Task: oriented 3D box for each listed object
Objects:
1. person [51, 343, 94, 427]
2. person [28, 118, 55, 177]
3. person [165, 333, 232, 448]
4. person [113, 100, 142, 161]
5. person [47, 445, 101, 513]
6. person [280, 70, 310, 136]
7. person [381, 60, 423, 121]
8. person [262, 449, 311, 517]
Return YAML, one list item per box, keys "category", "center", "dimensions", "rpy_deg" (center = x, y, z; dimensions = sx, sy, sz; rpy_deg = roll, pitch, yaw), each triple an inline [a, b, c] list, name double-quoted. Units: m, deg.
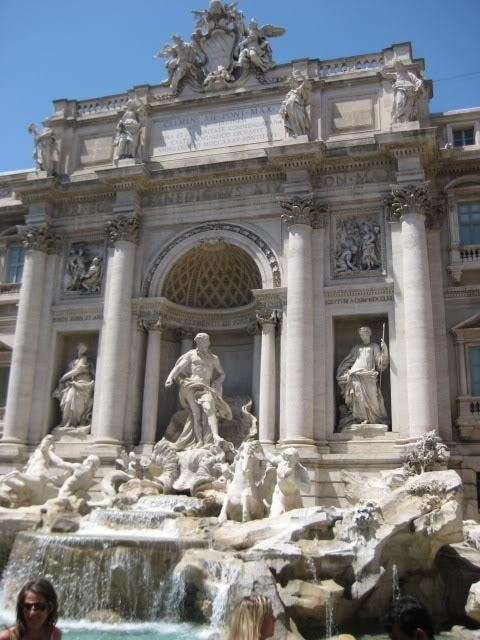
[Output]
- category: "person"
  center: [-5.527, 2.273, 21.354]
  dimensions: [1.236, 2.917, 0.634]
  rpy_deg: [3, -19, -6]
- category: "person"
  center: [-7.293, -6.370, 23.399]
  dimensions: [0.864, 2.381, 0.690]
  rpy_deg: [-10, -22, 27]
- category: "person"
  center: [-1.237, 2.215, 19.575]
  dimensions: [1.598, 3.609, 1.093]
  rpy_deg: [-2, -19, 7]
- category: "person"
  center: [-3.923, -6.794, 22.442]
  dimensions: [0.859, 2.681, 0.500]
  rpy_deg: [-11, -23, 31]
- category: "person"
  center: [-4.470, 4.164, 16.010]
  dimensions: [1.473, 1.948, 0.931]
  rpy_deg: [-3, -64, -2]
- category: "person"
  center: [1.823, -6.921, 20.470]
  dimensions: [0.954, 2.651, 0.639]
  rpy_deg: [-1, -19, 5]
- category: "person"
  center: [5.108, -7.159, 19.800]
  dimensions: [1.252, 2.728, 0.939]
  rpy_deg: [-1, -19, 5]
- category: "person"
  center: [1.095, 3.695, 14.230]
  dimensions: [0.607, 1.416, 0.911]
  rpy_deg: [17, -25, -39]
